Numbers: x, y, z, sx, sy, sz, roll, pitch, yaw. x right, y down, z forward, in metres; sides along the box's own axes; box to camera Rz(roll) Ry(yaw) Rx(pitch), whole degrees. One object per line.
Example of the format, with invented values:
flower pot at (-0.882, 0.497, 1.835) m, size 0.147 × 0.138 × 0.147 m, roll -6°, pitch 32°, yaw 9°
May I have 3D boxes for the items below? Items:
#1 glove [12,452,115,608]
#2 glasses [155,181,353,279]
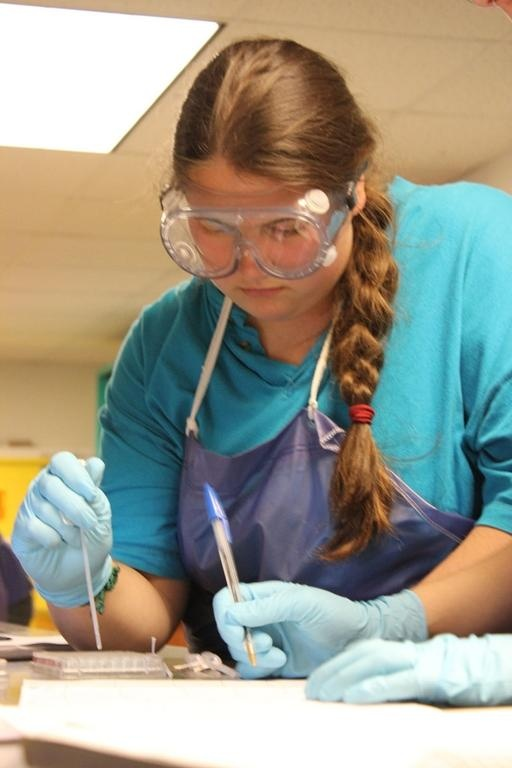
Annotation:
glove at (-0.278, 0.223, 1.042) m, size 0.144 × 0.263 × 0.146 m, roll -9°, pitch 17°, yaw -13°
glasses at (0.003, -0.182, 0.901) m, size 0.158 × 0.067 × 0.174 m, roll 1°, pitch 36°, yaw 11°
